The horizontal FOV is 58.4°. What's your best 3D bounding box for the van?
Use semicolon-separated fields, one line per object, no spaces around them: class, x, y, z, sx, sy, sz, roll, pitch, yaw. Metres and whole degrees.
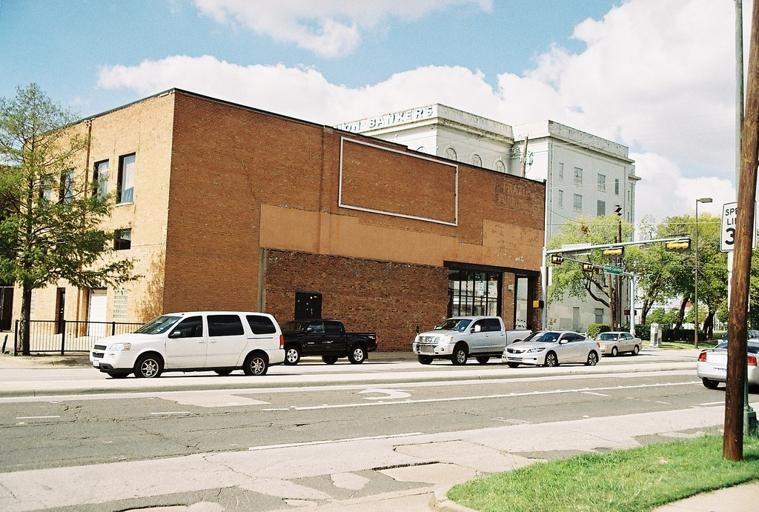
van;-6.472;3.054;22.851;5.243;1.756;2.614;6;-11;-33

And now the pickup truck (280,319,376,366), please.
pickup truck;-2.654;4.072;32.033;3.912;1.353;1.894;8;-12;-40

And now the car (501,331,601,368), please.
car;8.342;4.443;32.569;5.178;1.692;1.444;5;-10;-31

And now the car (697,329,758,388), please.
car;12.030;3.743;23.329;1.847;1.630;2.953;-4;-9;25

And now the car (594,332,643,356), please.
car;17.162;6.338;48.910;2.038;1.793;4.102;-6;-10;35

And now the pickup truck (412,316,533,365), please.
pickup truck;4.637;4.087;33.096;4.590;1.589;2.373;7;-10;-41
